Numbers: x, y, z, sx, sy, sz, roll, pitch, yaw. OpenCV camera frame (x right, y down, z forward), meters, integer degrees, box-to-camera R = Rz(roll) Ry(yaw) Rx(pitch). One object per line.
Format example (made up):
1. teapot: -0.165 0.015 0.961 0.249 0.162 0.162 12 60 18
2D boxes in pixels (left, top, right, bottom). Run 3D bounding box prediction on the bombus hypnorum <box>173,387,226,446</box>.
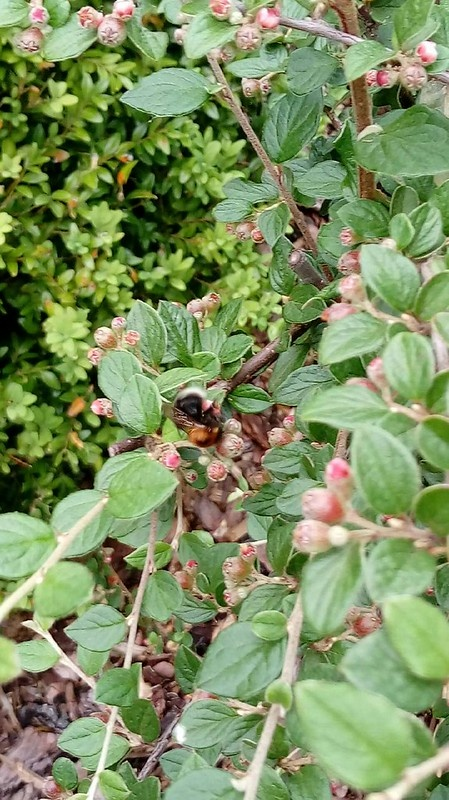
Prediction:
1. bombus hypnorum: -0.045 0.029 1.111 0.088 0.086 0.082 -7 79 18
